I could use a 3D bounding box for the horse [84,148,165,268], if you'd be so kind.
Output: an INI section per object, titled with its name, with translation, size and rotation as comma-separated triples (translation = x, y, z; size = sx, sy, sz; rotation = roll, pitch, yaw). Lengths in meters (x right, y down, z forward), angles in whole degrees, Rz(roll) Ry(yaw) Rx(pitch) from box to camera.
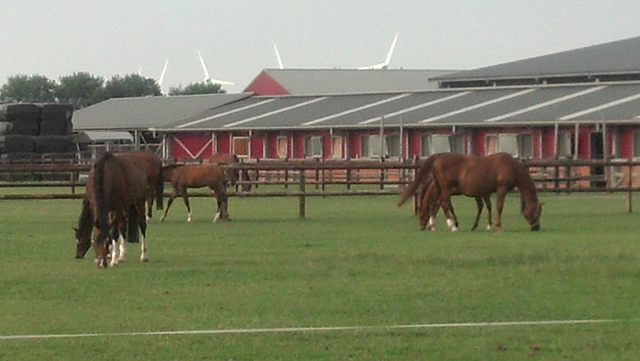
[horse]
translation = -7.747, 0.959, 46.043
size = 2.432, 4.303, 7.666
rotation = -5, 4, 3
